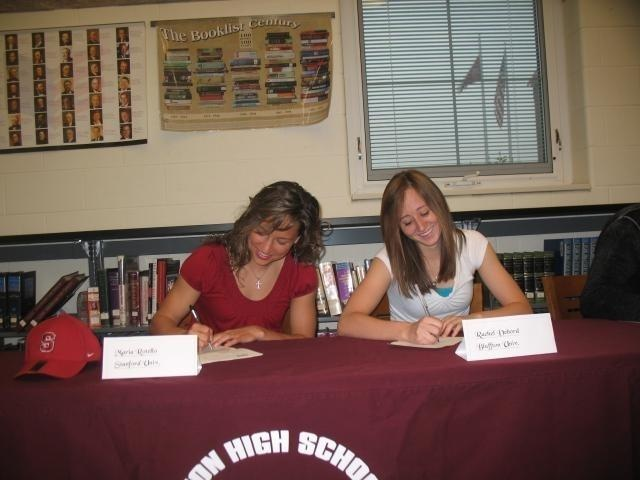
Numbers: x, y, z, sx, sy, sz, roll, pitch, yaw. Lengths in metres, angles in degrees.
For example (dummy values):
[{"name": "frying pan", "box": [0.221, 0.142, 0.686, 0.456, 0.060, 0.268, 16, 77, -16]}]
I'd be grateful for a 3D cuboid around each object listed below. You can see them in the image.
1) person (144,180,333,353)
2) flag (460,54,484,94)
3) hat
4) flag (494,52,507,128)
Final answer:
[{"name": "person", "box": [-0.344, 0.121, 2.759, 0.661, 1.017, 0.660, 5, 4, -17]}, {"name": "flag", "box": [0.923, -1.023, 3.496, 0.154, 0.220, 0.026, -6, 11, -16]}, {"name": "hat", "box": [-0.842, 0.332, 1.821, 0.152, 0.136, 0.225, 4, -3, 4]}, {"name": "flag", "box": [1.115, -0.927, 3.520, 0.107, 0.440, 0.050, -10, 13, -36]}]
